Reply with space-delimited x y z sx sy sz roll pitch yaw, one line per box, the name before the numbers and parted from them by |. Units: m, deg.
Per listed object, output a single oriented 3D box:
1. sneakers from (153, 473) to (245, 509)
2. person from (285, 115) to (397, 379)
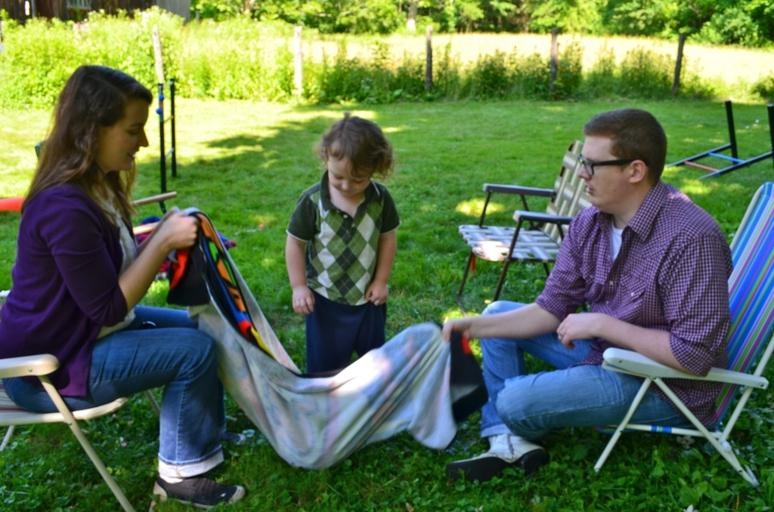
sneakers | -1.061 1.351 4.052 0.571 0.240 0.196 2 8 -10
person | -0.297 0.150 4.733 0.818 2.231 0.678 -12 28 -21
